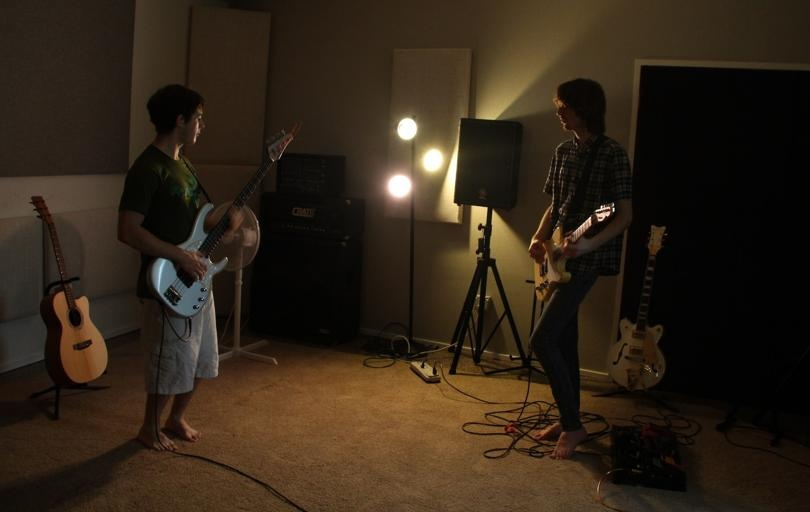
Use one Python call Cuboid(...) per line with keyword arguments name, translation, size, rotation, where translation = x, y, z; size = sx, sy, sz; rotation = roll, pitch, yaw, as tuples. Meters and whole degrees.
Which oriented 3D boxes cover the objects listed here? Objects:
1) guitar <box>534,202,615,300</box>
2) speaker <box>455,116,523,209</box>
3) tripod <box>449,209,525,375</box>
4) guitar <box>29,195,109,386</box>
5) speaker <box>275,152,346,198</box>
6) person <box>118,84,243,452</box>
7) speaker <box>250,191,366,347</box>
Cuboid(name="guitar", translation=(1.165, -0.021, 4.430), size=(0.647, 0.750, 0.409), rotation=(11, 9, 36))
Cuboid(name="speaker", translation=(0.775, -0.841, 5.742), size=(0.518, 0.767, 0.395), rotation=(7, 6, 17))
Cuboid(name="tripod", translation=(0.807, 0.311, 5.742), size=(0.671, 1.495, 0.533), rotation=(6, 7, 5))
Cuboid(name="guitar", translation=(-2.688, 0.313, 5.006), size=(0.536, 1.500, 0.812), rotation=(1, 8, -32))
Cuboid(name="speaker", translation=(-0.953, -0.808, 6.222), size=(0.634, 0.446, 0.139), rotation=(3, 4, 18))
Cuboid(name="person", translation=(-1.570, 0.114, 4.265), size=(0.701, 2.500, 0.452), rotation=(3, 8, -19))
Cuboid(name="speaker", translation=(-0.936, 0.132, 6.148), size=(1.352, 1.872, 0.645), rotation=(3, -1, 19))
